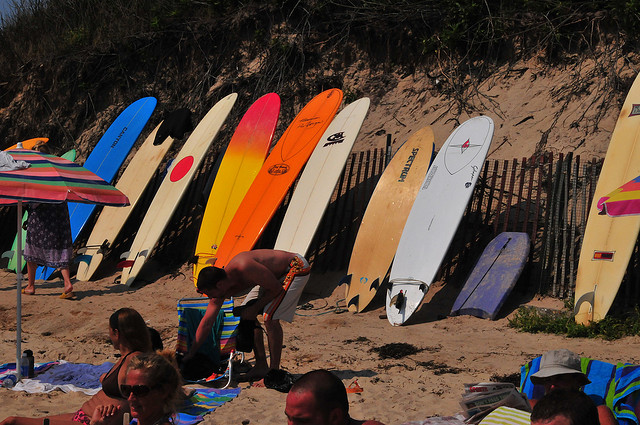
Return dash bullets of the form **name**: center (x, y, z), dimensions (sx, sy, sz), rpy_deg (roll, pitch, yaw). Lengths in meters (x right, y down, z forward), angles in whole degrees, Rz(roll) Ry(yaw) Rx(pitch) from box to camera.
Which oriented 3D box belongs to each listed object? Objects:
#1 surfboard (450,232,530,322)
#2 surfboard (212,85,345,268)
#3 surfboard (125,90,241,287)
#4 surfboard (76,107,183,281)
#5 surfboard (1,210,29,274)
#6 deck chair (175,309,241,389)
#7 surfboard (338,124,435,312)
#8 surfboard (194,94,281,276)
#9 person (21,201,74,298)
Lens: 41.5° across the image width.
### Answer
- **surfboard**: center (2.536, 0.907, 12.430), dimensions (0.833, 1.891, 0.209), rpy_deg (0, -55, 37)
- **surfboard**: center (-0.664, -0.480, 13.492), dimensions (0.605, 3.477, 0.380), rpy_deg (25, -16, 27)
- **surfboard**: center (-2.324, -0.304, 14.217), dimensions (0.562, 4.155, 0.372), rpy_deg (32, -32, -8)
- **surfboard**: center (-3.199, -0.215, 14.371), dimensions (0.563, 3.463, 0.277), rpy_deg (12, -24, 33)
- **surfboard**: center (-5.133, 0.524, 14.179), dimensions (0.357, 1.057, 0.217), rpy_deg (17, -1, 23)
- **deck chair**: center (-1.410, 1.756, 11.243), dimensions (0.990, 0.983, 0.820), rpy_deg (4, -4, 1)
- **surfboard**: center (1.120, -0.041, 13.115), dimensions (0.906, 4.026, 0.503), rpy_deg (-2, -42, 34)
- **surfboard**: center (-1.333, -0.374, 13.492), dimensions (0.620, 3.202, 0.354), rpy_deg (9, -22, 40)
- **person**: center (-4.221, 0.580, 13.094), dimensions (0.837, 1.499, 0.481), rpy_deg (10, -3, -5)
